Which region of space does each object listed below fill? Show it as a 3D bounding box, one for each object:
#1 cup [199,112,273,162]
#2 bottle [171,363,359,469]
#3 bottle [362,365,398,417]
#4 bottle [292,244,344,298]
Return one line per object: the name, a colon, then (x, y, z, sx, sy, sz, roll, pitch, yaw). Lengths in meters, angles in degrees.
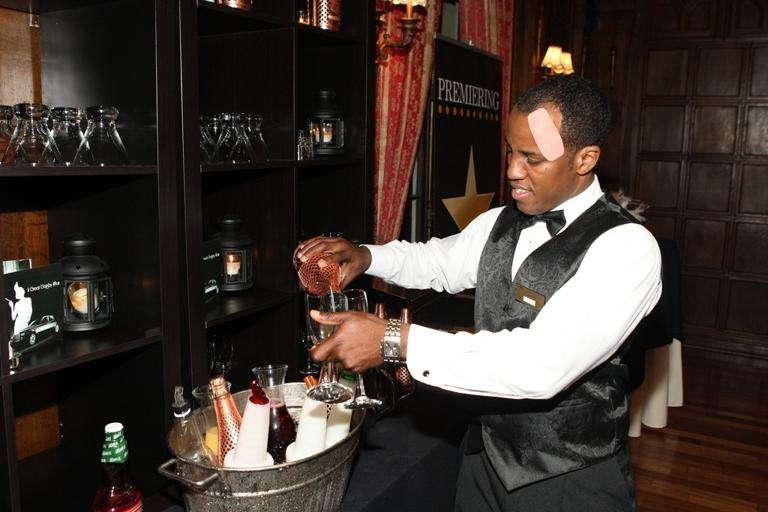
cup: (-0.559, -0.454, 2.109, 0.256, 0.180, 0.175, 0, 16, -10)
bottle: (-0.394, 0.451, 1.566, 0.372, 0.194, 0.289, 2, 2, -19)
bottle: (-0.013, 0.500, 2.068, 0.192, 0.195, 0.118, 0, 5, -12)
bottle: (-0.224, 0.060, 1.836, 0.149, 0.150, 0.166, -1, 34, -14)
